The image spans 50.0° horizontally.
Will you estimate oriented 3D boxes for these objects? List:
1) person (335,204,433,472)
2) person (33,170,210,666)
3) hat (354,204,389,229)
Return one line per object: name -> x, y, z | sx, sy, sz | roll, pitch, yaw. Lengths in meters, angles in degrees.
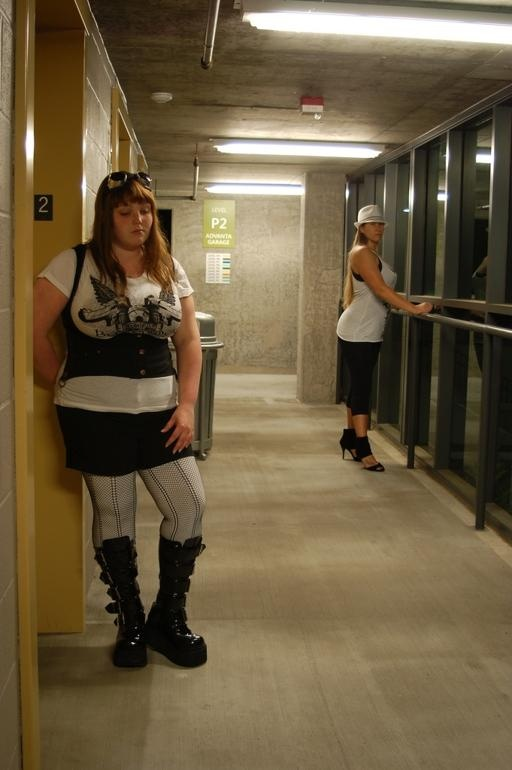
person -> 1.078, -0.438, 5.156 | 0.624, 2.300, 1.579 | 1, 0, 8
person -> -0.402, 0.158, 1.753 | 0.610, 1.325, 0.379 | 1, 0, -33
hat -> 0.985, -1.475, 4.870 | 0.263, 0.162, 0.302 | -4, 1, -14
